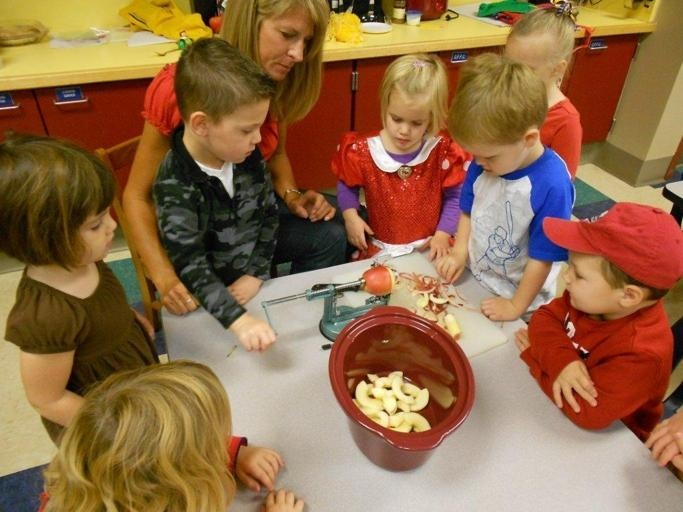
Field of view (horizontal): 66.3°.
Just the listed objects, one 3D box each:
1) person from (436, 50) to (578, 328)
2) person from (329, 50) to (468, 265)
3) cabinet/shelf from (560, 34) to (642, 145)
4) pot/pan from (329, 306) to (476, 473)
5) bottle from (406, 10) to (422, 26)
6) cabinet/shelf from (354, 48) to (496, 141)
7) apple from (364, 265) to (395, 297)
[{"bbox_3d":[0.529,-0.197,1.720,0.402,0.832,0.512,-20,47,-2],"label":"person"},{"bbox_3d":[0.222,-0.350,2.052,0.566,0.846,0.439,5,45,13],"label":"person"},{"bbox_3d":[1.787,-1.200,3.657,0.390,0.563,0.394,-2,24,-2],"label":"cabinet/shelf"},{"bbox_3d":[0.135,0.372,1.374,0.355,0.247,0.398,-8,55,-13],"label":"pot/pan"},{"bbox_3d":[0.446,-1.427,3.171,0.105,0.071,0.108,-1,41,1],"label":"bottle"},{"bbox_3d":[0.452,-0.845,3.215,0.861,0.493,0.571,2,64,-4],"label":"cabinet/shelf"},{"bbox_3d":[0.104,0.068,1.496,0.086,0.072,0.068,1,-1,-3],"label":"apple"}]
